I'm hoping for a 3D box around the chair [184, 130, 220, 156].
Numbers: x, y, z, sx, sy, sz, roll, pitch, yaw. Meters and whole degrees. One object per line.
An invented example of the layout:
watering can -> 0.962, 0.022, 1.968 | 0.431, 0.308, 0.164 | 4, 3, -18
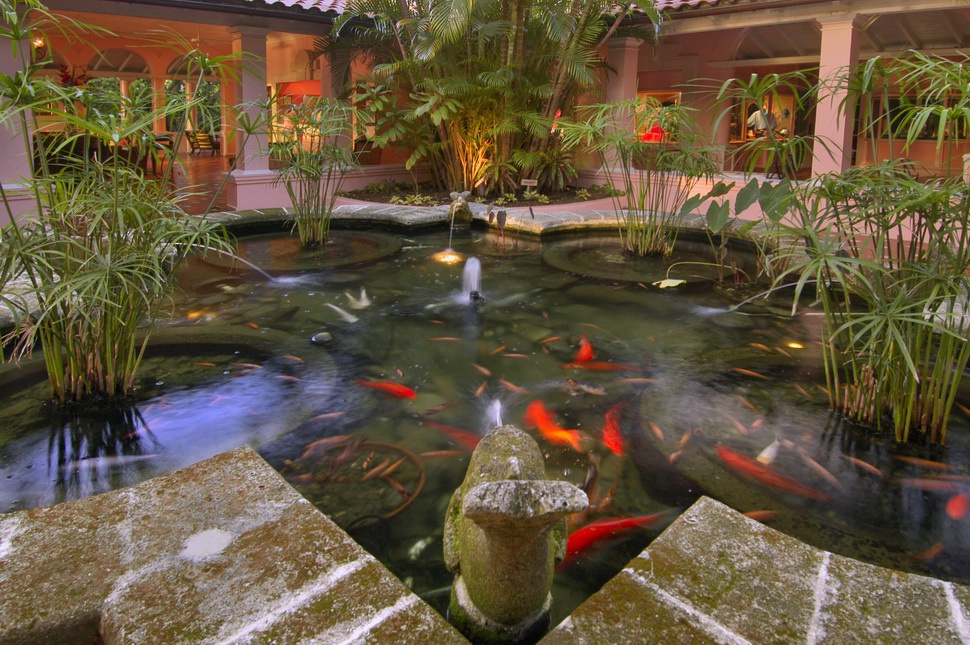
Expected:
chair -> -9.449, -5.935, 16.680 | 0.882, 0.802, 1.898 | -8, 20, -26
